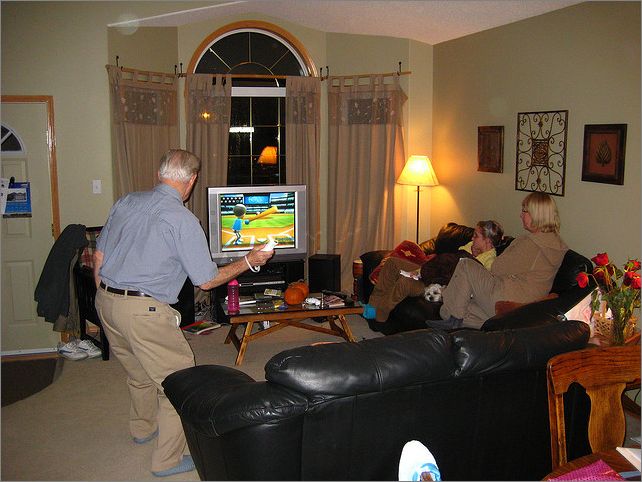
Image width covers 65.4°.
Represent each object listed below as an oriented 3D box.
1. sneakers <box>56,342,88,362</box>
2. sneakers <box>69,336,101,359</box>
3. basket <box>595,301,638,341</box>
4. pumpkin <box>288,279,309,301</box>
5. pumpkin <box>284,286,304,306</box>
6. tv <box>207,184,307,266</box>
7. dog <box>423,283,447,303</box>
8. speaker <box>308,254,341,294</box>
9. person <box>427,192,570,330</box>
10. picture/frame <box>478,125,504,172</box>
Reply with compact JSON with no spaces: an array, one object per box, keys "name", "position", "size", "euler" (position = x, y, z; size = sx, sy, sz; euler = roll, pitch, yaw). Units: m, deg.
[{"name":"sneakers","position":[-2.261,0.983,4.583],"size":[0.326,0.154,0.127],"euler":[8,8,16]},{"name":"sneakers","position":[-2.141,0.976,4.629],"size":[0.341,0.149,0.130],"euler":[18,15,6]},{"name":"basket","position":[1.982,0.540,3.357],"size":[0.237,0.276,0.199],"euler":[-6,8,-19]},{"name":"pumpkin","position":[-0.189,0.440,4.609],"size":[0.137,0.143,0.137],"euler":[-10,8,-30]},{"name":"pumpkin","position":[-0.244,0.492,4.533],"size":[0.142,0.163,0.155],"euler":[-3,7,23]},{"name":"tv","position":[-0.708,-0.238,5.710],"size":[1.327,1.174,0.747],"euler":[-2,5,-9]},{"name":"dog","position":[1.042,0.481,4.641],"size":[0.132,0.135,0.180],"euler":[3,0,0]},{"name":"speaker","position":[0.056,0.346,5.598],"size":[0.352,0.781,0.397],"euler":[-1,5,3]},{"name":"person","position":[1.543,0.127,4.396],"size":[0.896,1.469,0.600],"euler":[18,32,16]},{"name":"picture/frame","position":[1.816,-0.991,5.334],"size":[0.026,0.479,0.379],"euler":[-9,14,-22]}]
